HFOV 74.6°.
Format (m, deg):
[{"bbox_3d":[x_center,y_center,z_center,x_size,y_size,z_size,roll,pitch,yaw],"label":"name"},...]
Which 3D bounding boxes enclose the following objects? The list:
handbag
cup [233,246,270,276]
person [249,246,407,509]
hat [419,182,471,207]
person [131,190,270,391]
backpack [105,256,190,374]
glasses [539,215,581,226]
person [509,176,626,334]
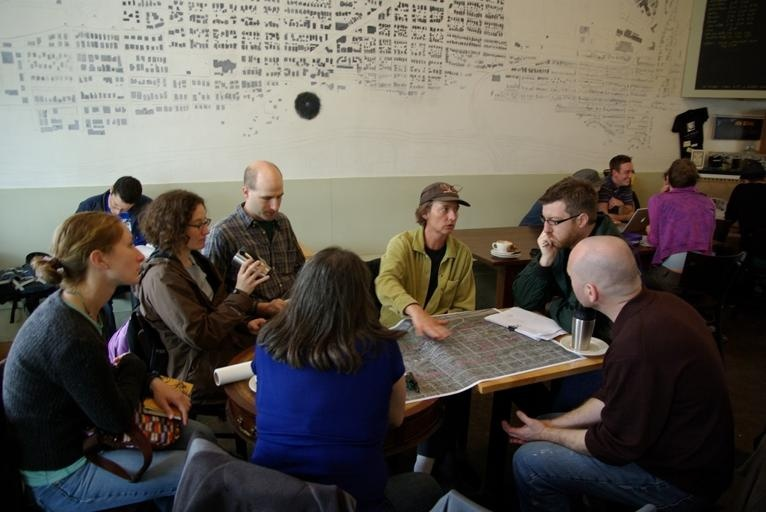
[{"bbox_3d":[-1.099,0.768,2.192,0.320,0.119,0.355,-2,31,15],"label":"handbag"},{"bbox_3d":[-0.754,0.042,2.870,0.218,0.097,0.129,27,49,6],"label":"cup"},{"bbox_3d":[-0.205,0.467,1.871,0.559,0.945,0.307,-1,13,4],"label":"person"},{"bbox_3d":[0.334,-0.375,3.075,0.284,0.157,0.212,-2,-2,41],"label":"hat"},{"bbox_3d":[-0.950,0.199,2.637,0.511,1.131,0.450,-13,36,-4],"label":"person"},{"bbox_3d":[-1.264,0.314,2.905,0.562,0.668,0.466,-2,6,-38],"label":"backpack"},{"bbox_3d":[1.025,-0.218,2.950,0.225,0.058,0.105,10,17,41],"label":"glasses"},{"bbox_3d":[1.134,0.139,3.072,0.687,1.133,0.591,1,7,34],"label":"person"}]
